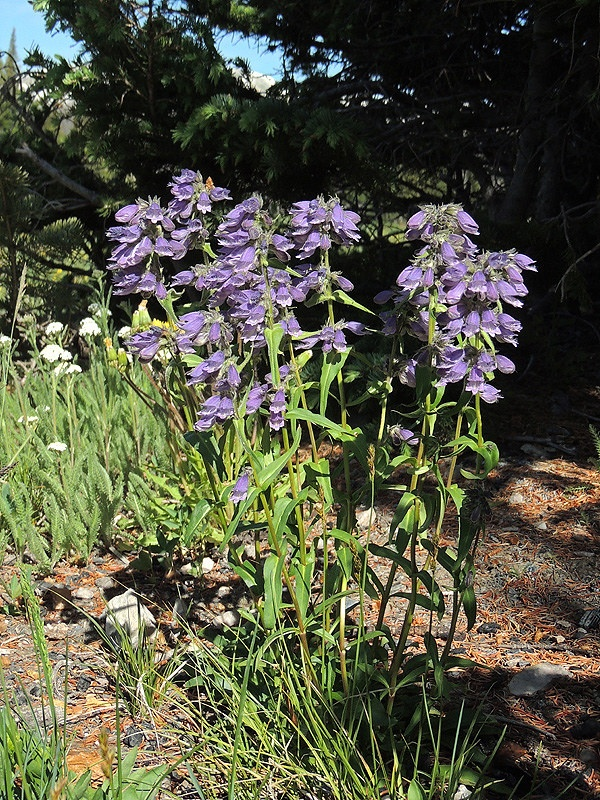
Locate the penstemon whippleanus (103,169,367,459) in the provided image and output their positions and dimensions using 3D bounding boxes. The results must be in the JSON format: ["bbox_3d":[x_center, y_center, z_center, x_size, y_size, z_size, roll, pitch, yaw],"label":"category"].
[{"bbox_3d":[-0.090,-0.331,2.480,0.972,0.824,0.830,-14,16,-38],"label":"penstemon whippleanus"}]

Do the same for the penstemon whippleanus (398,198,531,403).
[{"bbox_3d":[0.440,-0.262,2.082,0.352,0.513,0.294,8,7,5],"label":"penstemon whippleanus"}]
